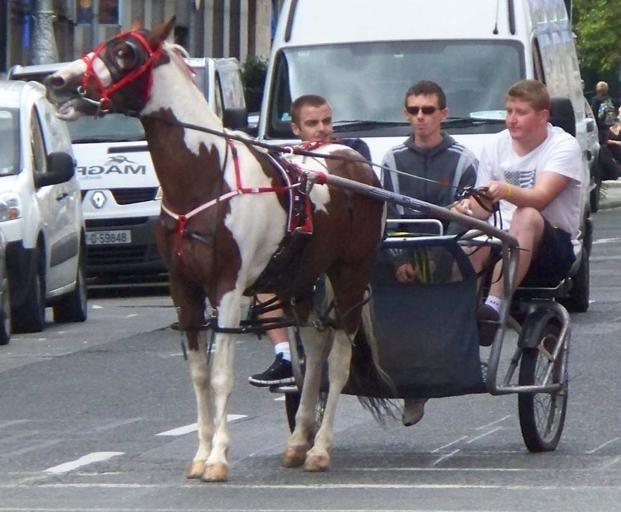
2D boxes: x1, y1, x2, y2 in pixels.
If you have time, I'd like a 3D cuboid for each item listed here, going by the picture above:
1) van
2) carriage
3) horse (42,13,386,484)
[{"bbox_3d":[-2.156,-0.983,18.574,2.495,2.002,3.799,-2,-3,8],"label":"van"},{"bbox_3d":[0.234,0.148,8.615,3.872,2.236,1.309,9,-6,-39],"label":"carriage"},{"bbox_3d":[-0.422,0.048,8.092,0.791,2.249,2.606,-1,-6,37],"label":"horse"}]
